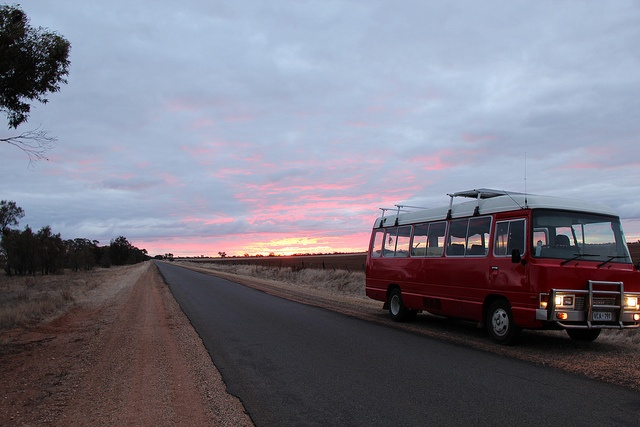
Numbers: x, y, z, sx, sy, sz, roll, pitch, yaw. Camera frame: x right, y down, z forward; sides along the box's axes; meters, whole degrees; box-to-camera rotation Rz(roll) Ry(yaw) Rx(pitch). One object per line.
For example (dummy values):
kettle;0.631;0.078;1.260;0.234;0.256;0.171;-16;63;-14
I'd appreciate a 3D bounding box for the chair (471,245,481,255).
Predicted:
chair;4.656;1.071;10.148;0.145;0.248;0.217;5;17;-11

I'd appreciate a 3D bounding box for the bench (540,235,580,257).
bench;6.234;0.861;8.914;1.304;0.612;0.387;1;-5;-25
